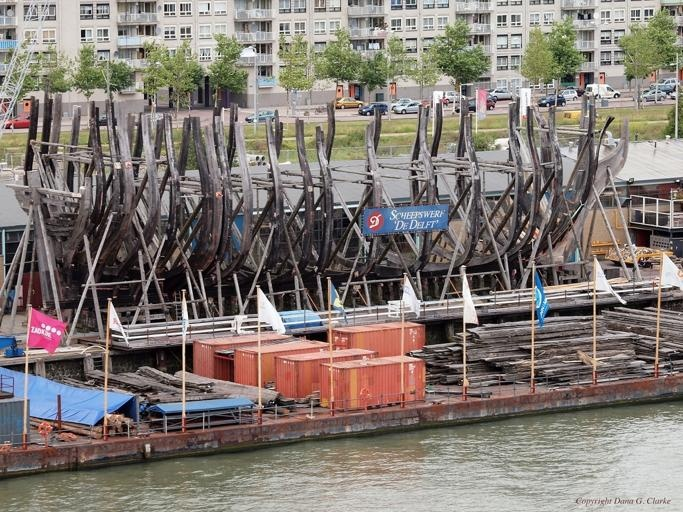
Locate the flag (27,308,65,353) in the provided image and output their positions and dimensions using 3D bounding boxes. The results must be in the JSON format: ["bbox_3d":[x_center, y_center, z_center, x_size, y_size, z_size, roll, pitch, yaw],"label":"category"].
[{"bbox_3d":[-16.309,4.160,116.458,2.115,2.766,0.296,13,0,-3],"label":"flag"}]

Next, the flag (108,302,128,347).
[{"bbox_3d":[-12.670,3.687,118.447,1.041,0.189,2.787,11,48,-16],"label":"flag"}]

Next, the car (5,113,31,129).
[{"bbox_3d":[-27.325,-11.041,178.351,1.893,1.312,7.594,-5,8,-9],"label":"car"}]

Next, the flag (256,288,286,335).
[{"bbox_3d":[-4.017,3.170,119.082,1.292,2.562,2.544,-4,8,-1],"label":"flag"}]

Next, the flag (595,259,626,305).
[{"bbox_3d":[16.359,1.247,127.269,2.574,3.445,0.314,-4,32,-4],"label":"flag"}]
